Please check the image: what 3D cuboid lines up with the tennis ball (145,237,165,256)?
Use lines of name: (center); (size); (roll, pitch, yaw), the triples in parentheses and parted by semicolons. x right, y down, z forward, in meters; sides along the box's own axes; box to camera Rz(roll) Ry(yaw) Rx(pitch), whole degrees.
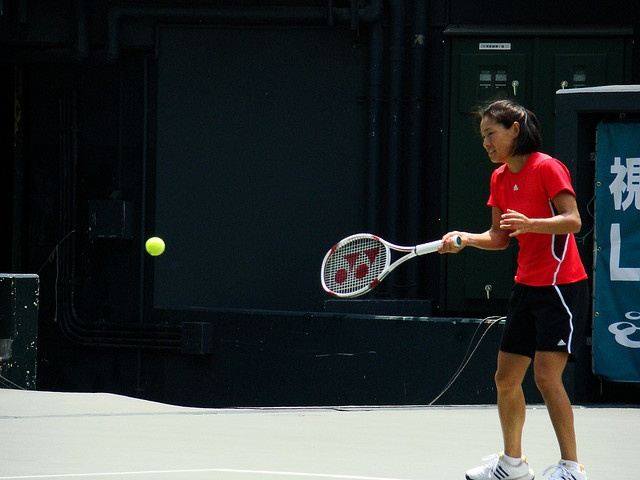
tennis ball: (-1.756, 0.063, 9.641); (0.188, 0.246, 0.195); (-9, -2, 0)
